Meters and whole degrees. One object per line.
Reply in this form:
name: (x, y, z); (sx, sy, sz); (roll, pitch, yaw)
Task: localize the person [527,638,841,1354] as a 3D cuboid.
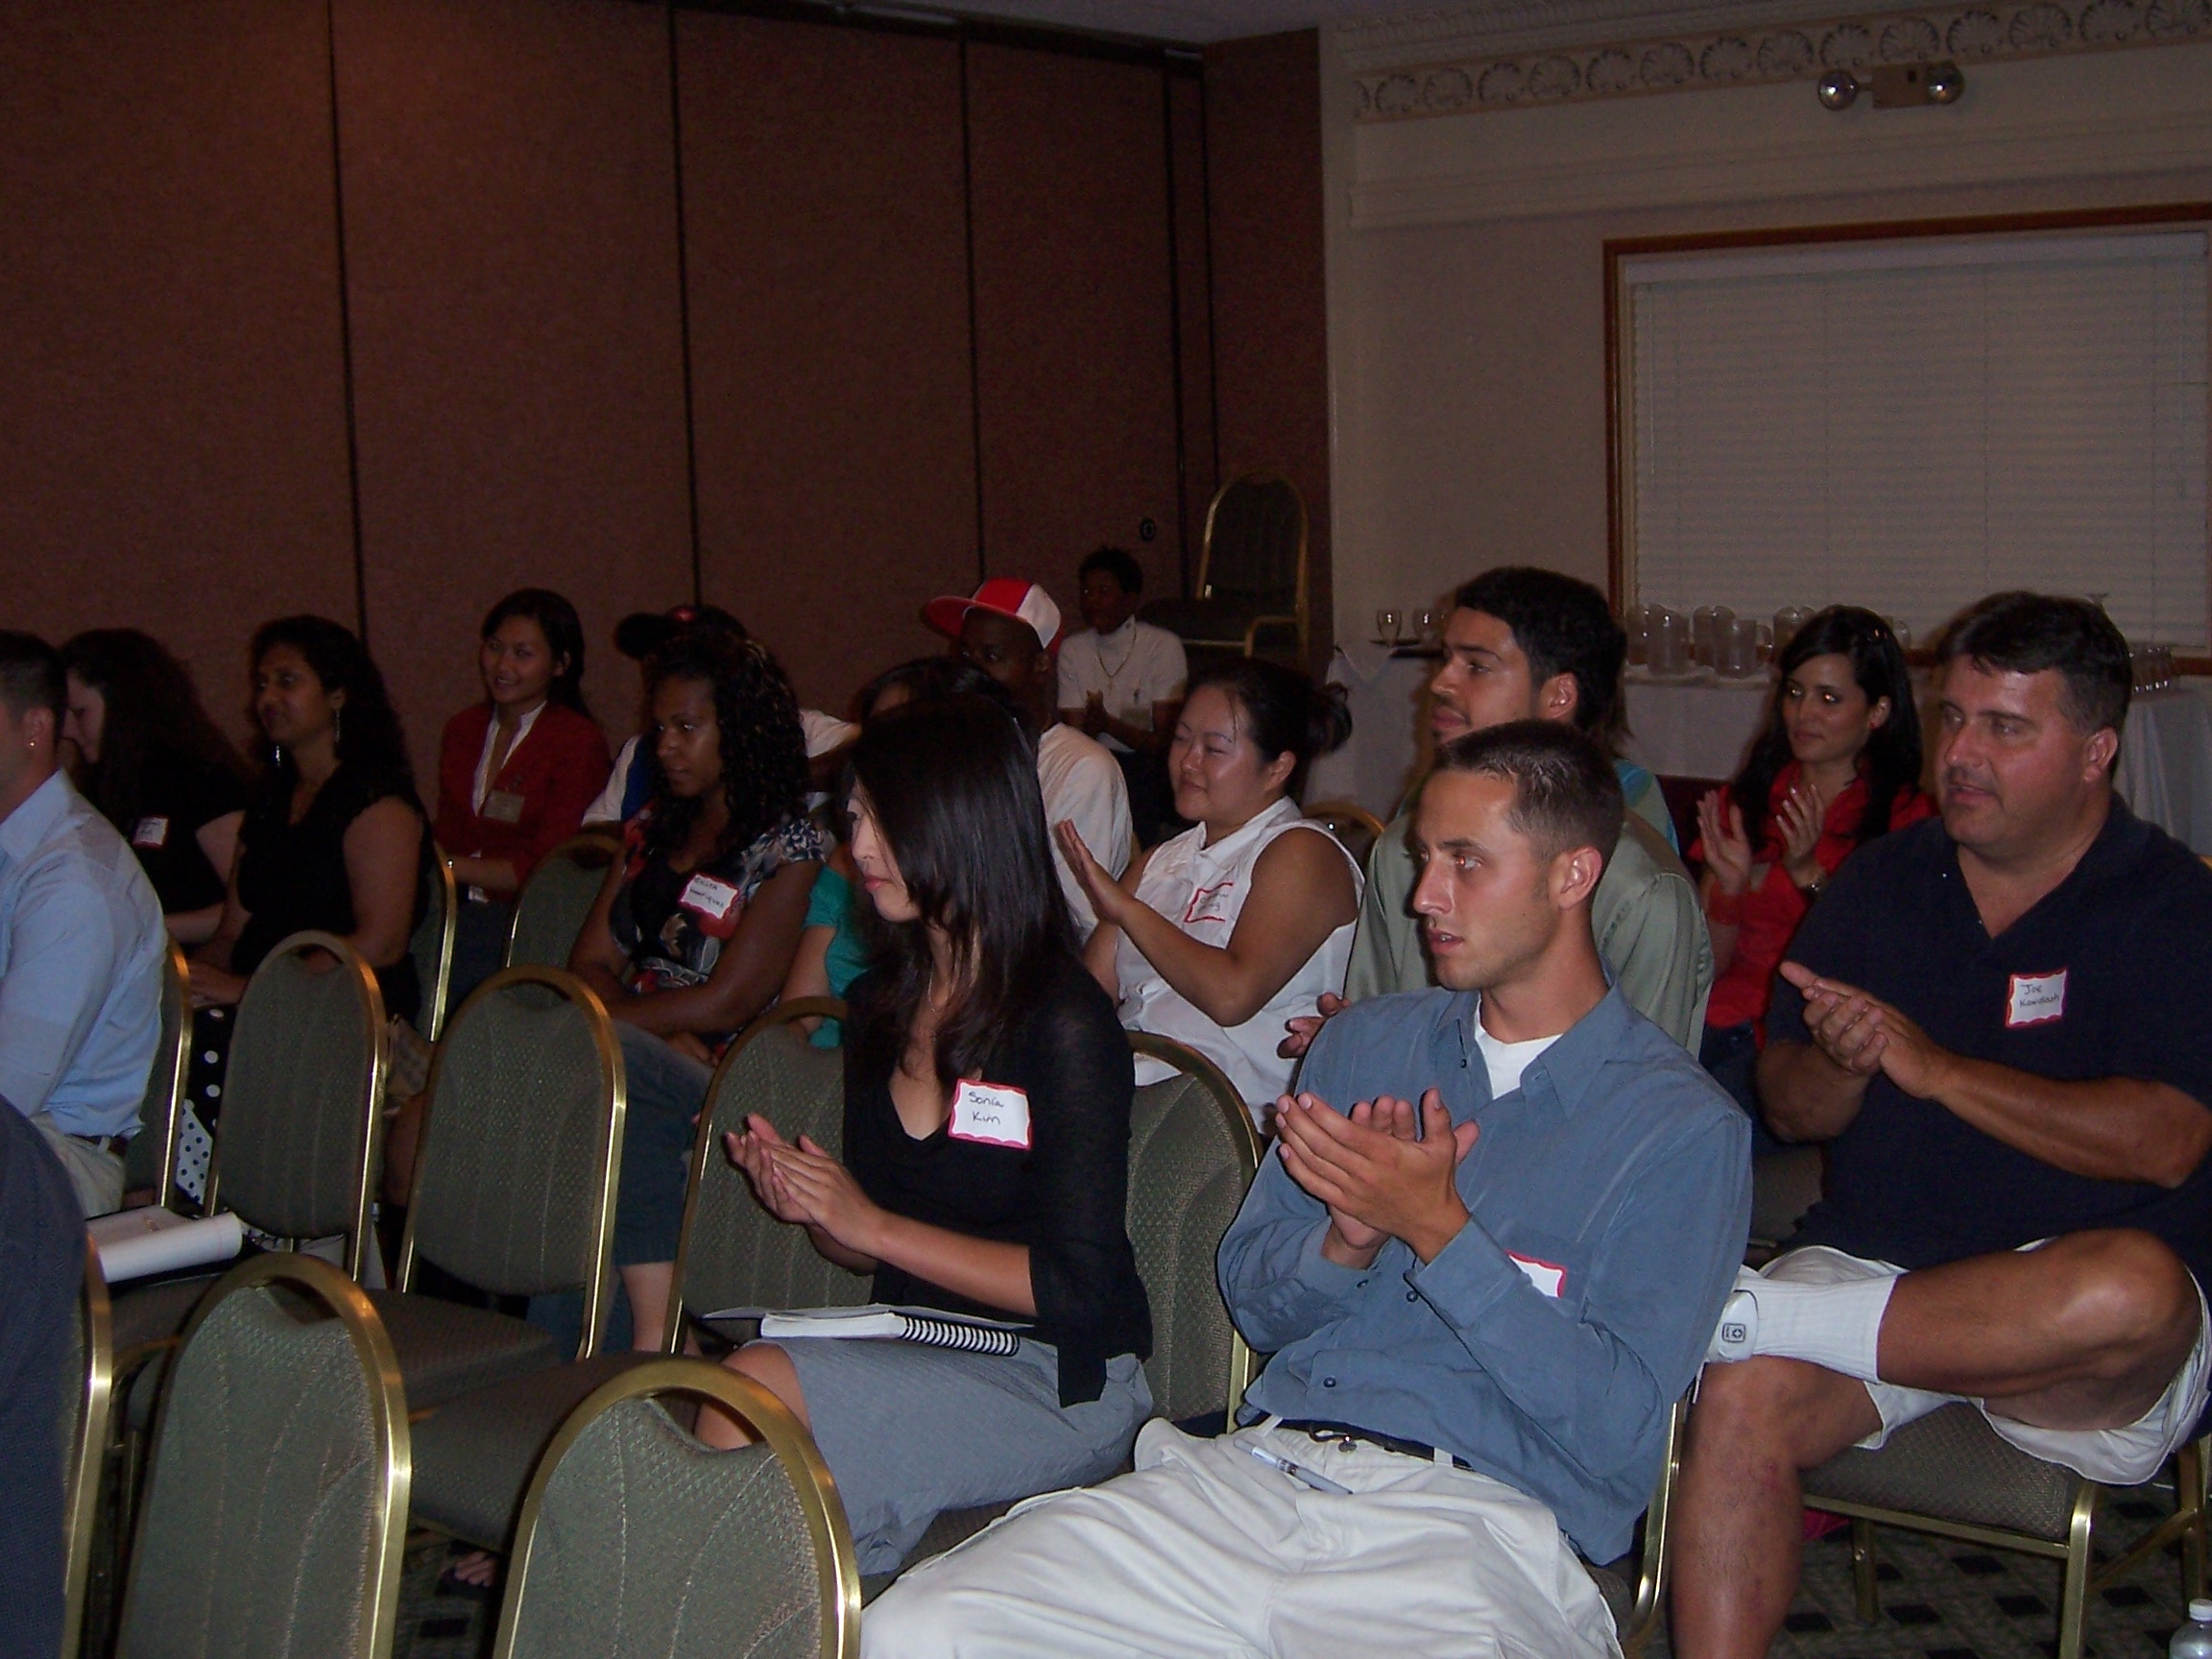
person: (-1.438, 0.130, 5.513); (0.599, 1.473, 0.707); (24, -4, -40)

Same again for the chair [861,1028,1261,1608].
chair: (-0.105, 0.567, 2.511); (0.585, 0.904, 0.455); (11, -11, -42)

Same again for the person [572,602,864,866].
person: (-1.144, -0.284, 4.912); (0.386, 0.495, 1.039); (16, 3, -45)

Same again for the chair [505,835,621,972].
chair: (-1.334, 0.193, 4.379); (0.206, 0.421, 0.253); (9, -9, 9)
